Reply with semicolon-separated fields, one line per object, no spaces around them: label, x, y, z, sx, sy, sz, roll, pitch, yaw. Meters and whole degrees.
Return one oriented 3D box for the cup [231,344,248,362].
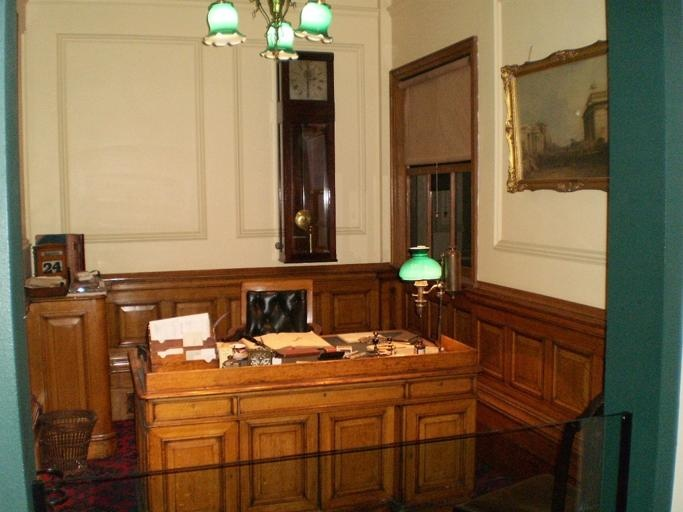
cup;-0.627;0.600;3.564;0.087;0.088;0.086;1;-3;0

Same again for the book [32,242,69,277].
book;-2.514;0.055;5.063;0.321;0.454;0.261;1;-4;-29
